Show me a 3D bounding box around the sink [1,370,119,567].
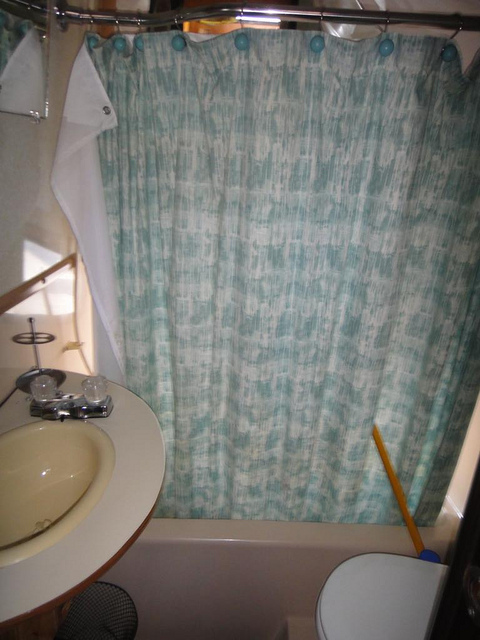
[{"bbox_3d":[-0.355,0.287,0.911,0.182,0.174,0.282,2,36,-1],"label":"sink"}]

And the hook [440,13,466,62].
[{"bbox_3d":[0.495,-0.648,1.055,0.043,0.090,0.100,9,17,21],"label":"hook"}]

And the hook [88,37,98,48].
[{"bbox_3d":[-0.363,-0.684,1.118,0.017,0.020,0.010,4,22,-3],"label":"hook"}]

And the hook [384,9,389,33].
[{"bbox_3d":[0.332,-0.672,1.025,0.008,0.035,0.040,7,17,14],"label":"hook"}]

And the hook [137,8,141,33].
[{"bbox_3d":[-0.238,-0.703,1.071,0.007,0.036,0.055,0,17,-12],"label":"hook"}]

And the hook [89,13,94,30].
[{"bbox_3d":[-0.359,-0.718,1.101,0.010,0.030,0.156,-2,19,-17],"label":"hook"}]
